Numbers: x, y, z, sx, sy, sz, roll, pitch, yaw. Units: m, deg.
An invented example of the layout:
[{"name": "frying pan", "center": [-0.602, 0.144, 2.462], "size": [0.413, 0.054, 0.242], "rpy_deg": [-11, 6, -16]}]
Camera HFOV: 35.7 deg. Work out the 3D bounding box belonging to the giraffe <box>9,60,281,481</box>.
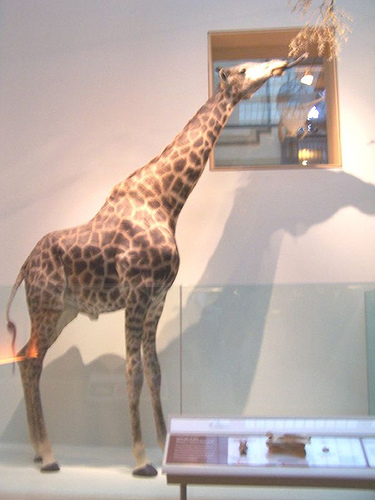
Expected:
[{"name": "giraffe", "center": [-0.240, 0.046, 2.583], "size": [1.103, 1.716, 0.678], "rpy_deg": [-4, 8, -5]}]
